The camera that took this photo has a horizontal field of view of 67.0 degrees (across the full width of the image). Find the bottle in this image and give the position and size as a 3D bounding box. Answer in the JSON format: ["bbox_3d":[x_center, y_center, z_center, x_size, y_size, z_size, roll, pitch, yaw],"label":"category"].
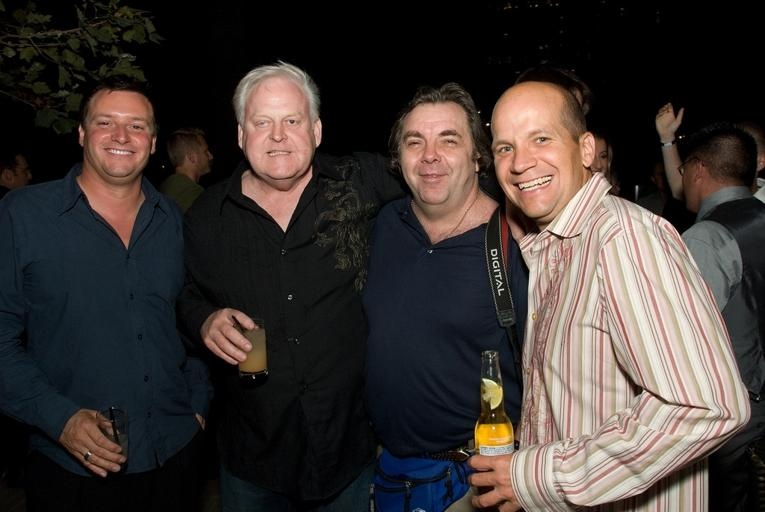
[{"bbox_3d":[0.529,0.692,2.706,0.173,0.484,0.290,3,10,10],"label":"bottle"}]

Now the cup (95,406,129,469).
[{"bbox_3d":[-1.507,0.981,3.224,0.130,0.301,0.248,-4,11,-27],"label":"cup"}]
